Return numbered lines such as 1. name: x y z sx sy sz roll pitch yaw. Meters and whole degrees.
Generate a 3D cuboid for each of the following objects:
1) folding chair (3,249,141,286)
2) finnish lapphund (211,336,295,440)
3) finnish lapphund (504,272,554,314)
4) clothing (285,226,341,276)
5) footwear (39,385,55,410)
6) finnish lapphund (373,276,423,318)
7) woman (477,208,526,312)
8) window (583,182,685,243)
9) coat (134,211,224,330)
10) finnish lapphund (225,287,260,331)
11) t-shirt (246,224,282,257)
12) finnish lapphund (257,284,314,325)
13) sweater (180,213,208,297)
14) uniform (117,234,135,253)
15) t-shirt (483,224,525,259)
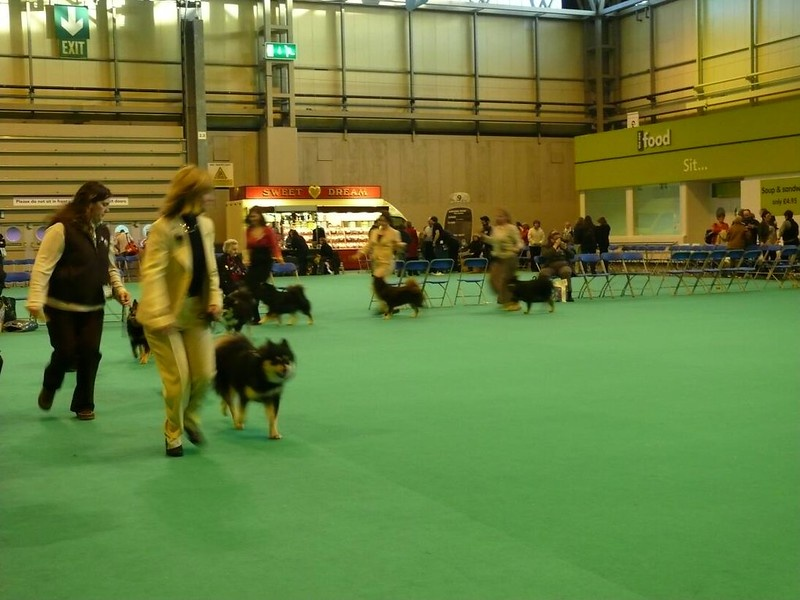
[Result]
1. folding chair: -4.148 -0.434 9.010 1.343 0.386 0.296 -1 -3 -22
2. finnish lapphund: -1.026 0.559 4.844 0.258 0.674 1.084 -1 -1 -39
3. finnish lapphund: 2.348 -0.100 12.841 0.774 0.618 0.450 -1 7 9
4. clothing: -2.706 -1.342 22.645 1.238 1.422 1.955 -1 5 -3
5. footwear: -2.765 0.768 5.671 0.084 0.207 0.188 9 -32 -19
6. finnish lapphund: 0.067 -0.077 12.401 1.143 0.672 0.314 1 21 32
7. woman: 1.844 -0.721 13.089 0.716 1.768 0.777 -3 8 -43
8. window: 8.141 -3.005 24.744 0.111 1.629 2.658 1 2 -27
9. coat: -1.347 -0.175 4.386 0.490 0.689 0.269 -4 7 -21
10. finnish lapphund: -2.172 0.133 9.760 0.371 0.607 0.720 -3 7 -11
11. t-shirt: -2.004 -0.854 10.710 0.484 0.492 0.279 -4 7 -19
12. finnish lapphund: -1.872 0.029 11.378 1.012 0.697 0.302 3 -6 -16
13. sweater: -1.231 -0.251 4.403 0.088 0.384 0.384 -8 -5 5
14. uniform: -7.874 -1.629 20.754 0.472 0.557 0.295 -4 -28 -40
15. t-shirt: 1.827 -1.049 12.794 0.595 0.634 0.462 0 7 17
